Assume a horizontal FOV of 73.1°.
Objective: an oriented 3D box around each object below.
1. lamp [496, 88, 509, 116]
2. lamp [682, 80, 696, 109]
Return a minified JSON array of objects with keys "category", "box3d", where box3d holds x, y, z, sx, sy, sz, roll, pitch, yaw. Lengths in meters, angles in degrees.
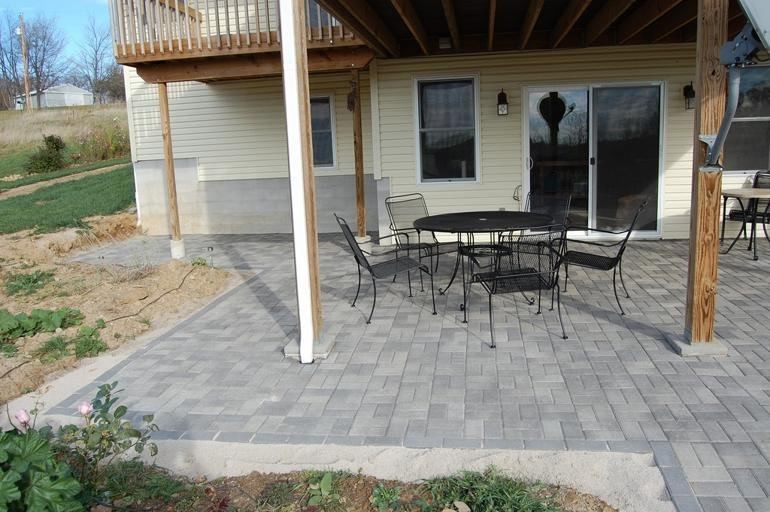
[{"category":"lamp","box3d":[2.070,-2.718,9.160,0.207,0.453,0.208,-1,18,4]},{"category":"lamp","box3d":[5.128,-2.727,8.812,0.194,0.457,0.196,6,19,24]}]
